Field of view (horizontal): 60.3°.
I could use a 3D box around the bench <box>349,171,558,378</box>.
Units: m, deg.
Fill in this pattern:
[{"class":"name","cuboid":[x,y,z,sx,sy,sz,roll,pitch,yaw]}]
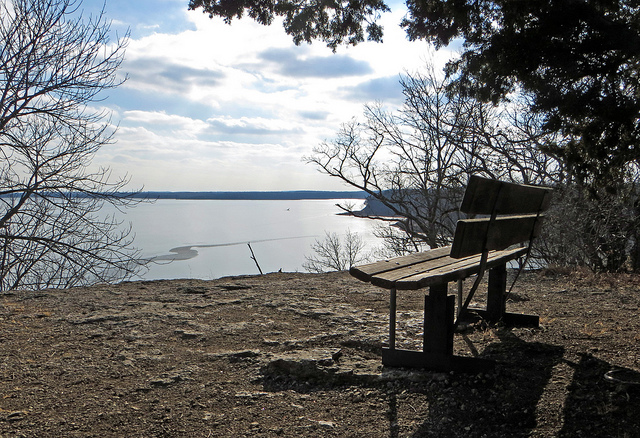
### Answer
[{"class":"bench","cuboid":[1.884,0.542,6.831,1.429,1.905,3.533,-2,1,35]}]
